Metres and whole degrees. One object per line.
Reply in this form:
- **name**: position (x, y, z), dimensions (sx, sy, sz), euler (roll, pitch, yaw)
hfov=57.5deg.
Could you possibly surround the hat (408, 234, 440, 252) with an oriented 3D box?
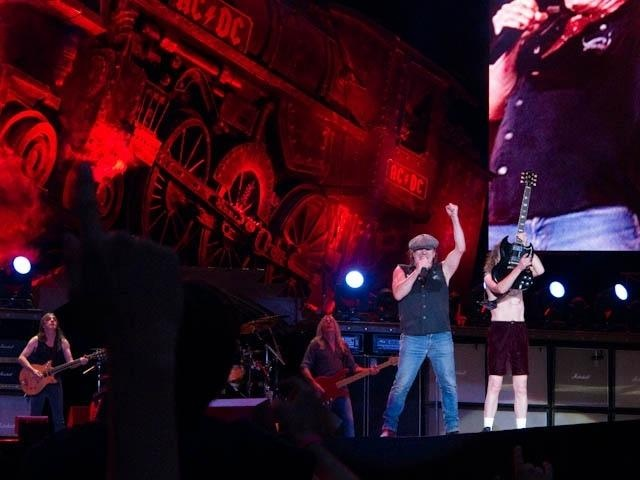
- **hat**: position (1.054, 0.029, 5.978), dimensions (0.269, 0.132, 0.332), euler (1, 0, 7)

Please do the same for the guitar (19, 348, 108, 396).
- **guitar**: position (-3.093, 1.571, 6.928), dimensions (0.831, 0.535, 0.395), euler (6, -15, -29)

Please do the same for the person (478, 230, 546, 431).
- **person**: position (1.874, 0.892, 5.709), dimensions (0.618, 1.823, 1.069), euler (-5, -13, 19)

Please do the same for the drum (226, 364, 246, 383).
- **drum**: position (-0.951, 1.521, 6.612), dimensions (0.119, 0.197, 0.425), euler (0, -13, -3)

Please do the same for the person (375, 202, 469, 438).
- **person**: position (0.911, 0.690, 5.215), dimensions (0.799, 2.024, 0.411), euler (-3, -13, 9)
